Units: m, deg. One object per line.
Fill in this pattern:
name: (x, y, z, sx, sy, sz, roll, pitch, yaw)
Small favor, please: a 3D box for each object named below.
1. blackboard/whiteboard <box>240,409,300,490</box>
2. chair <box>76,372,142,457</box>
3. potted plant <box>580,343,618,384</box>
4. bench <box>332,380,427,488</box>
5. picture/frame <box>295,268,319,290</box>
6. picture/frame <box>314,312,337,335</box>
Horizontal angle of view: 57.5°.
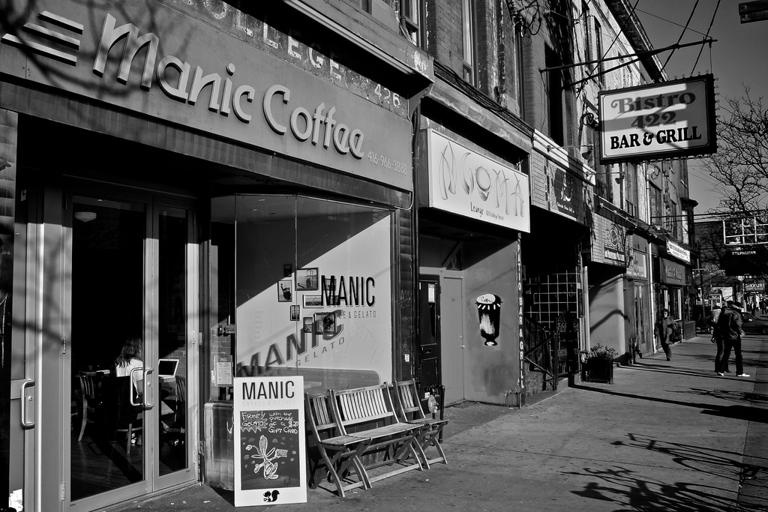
blackboard/whiteboard: (-1.515, 2.595, 9.195, 0.817, 1.198, 0.053, 1, -13, -15)
chair: (-3.688, 2.083, 9.467, 0.802, 1.399, 0.998, 0, -2, 0)
potted plant: (5.806, 2.953, 18.784, 0.810, 0.927, 1.250, 0, 0, 18)
bench: (-0.069, 2.663, 10.527, 1.656, 1.449, 0.744, -1, -8, -45)
picture/frame: (-1.147, 0.355, 10.609, 0.084, 0.360, 0.466, 0, 0, 37)
picture/frame: (-0.904, 1.055, 10.805, 0.041, 0.318, 0.314, -7, -7, 37)
